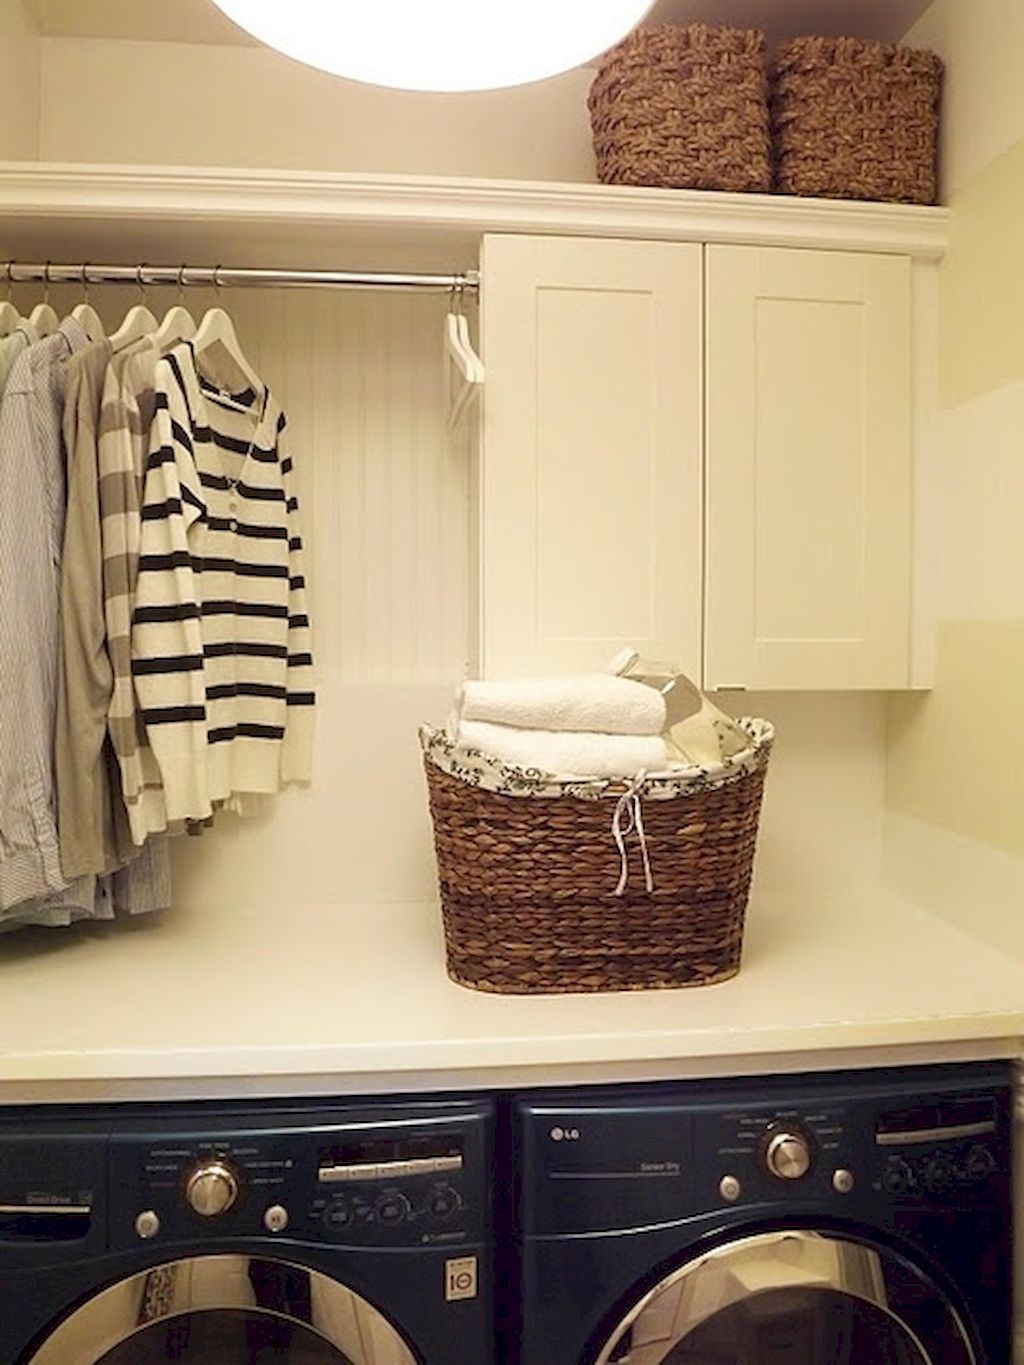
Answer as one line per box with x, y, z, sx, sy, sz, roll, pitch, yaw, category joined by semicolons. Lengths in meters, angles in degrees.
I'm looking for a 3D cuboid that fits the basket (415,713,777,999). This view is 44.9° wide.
0.106;0.231;1.691;0.461;0.322;0.307;0;4;-15;basket

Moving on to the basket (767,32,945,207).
0.544;-0.880;1.932;0.181;0.247;0.303;-1;28;1;basket

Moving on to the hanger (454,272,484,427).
-0.066;-0.507;1.799;0.043;0.216;0.087;1;-17;-8;hanger

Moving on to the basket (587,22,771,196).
0.243;-0.837;1.926;0.276;0.242;0.327;0;2;-5;basket

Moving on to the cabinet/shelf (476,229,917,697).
0.241;-0.334;1.805;0.696;0.660;0.248;1;1;-6;cabinet/shelf
